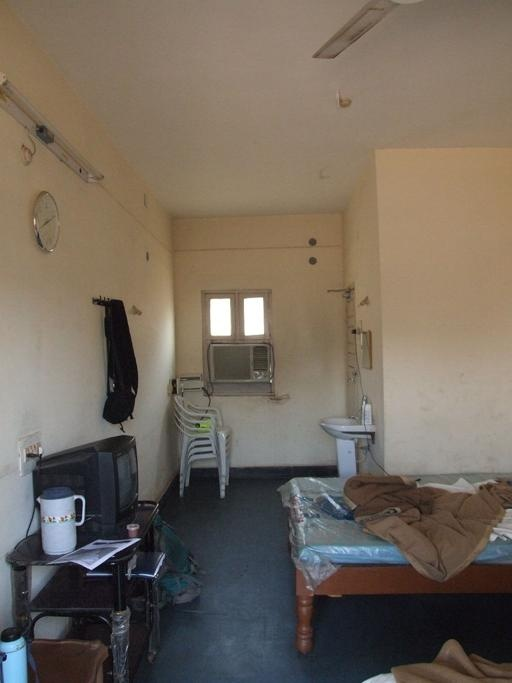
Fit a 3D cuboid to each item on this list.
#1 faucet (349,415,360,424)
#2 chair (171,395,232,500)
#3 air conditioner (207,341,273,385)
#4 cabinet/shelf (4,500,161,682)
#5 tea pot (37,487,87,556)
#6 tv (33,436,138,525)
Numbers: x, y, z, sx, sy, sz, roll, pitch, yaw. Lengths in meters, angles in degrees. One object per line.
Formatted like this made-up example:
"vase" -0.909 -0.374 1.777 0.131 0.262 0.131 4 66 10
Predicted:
"faucet" 0.772 0.609 4.433 0.076 0.040 0.098 -1 -13 6
"chair" -0.332 0.960 5.381 0.737 1.173 0.772 0 -2 0
"air conditioner" -0.158 0.203 5.333 0.687 0.470 0.358 0 2 4
"cabinet/shelf" -0.689 1.105 2.442 0.553 0.712 0.654 -2 5 -10
"tea pot" -0.745 0.688 2.180 0.249 0.286 0.173 2 -8 -19
"tv" -0.732 0.612 2.583 0.452 0.305 0.494 -1 1 -29
